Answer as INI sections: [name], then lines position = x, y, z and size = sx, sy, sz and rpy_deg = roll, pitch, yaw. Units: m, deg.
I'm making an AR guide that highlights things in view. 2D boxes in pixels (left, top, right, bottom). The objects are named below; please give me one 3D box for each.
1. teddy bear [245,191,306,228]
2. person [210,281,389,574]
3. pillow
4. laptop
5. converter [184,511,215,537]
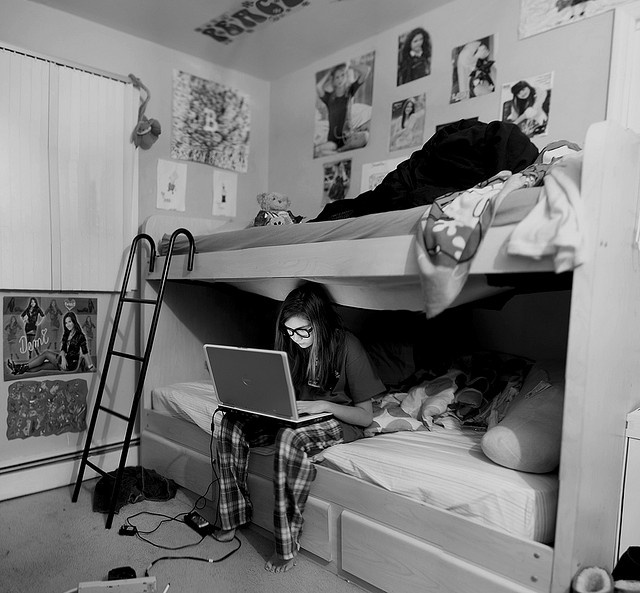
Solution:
[teddy bear]
position = -0.284, -0.472, 3.028
size = 0.230, 0.153, 0.314
rpy_deg = -1, 2, -21
[person]
position = -0.112, 0.520, 2.232
size = 0.606, 1.132, 0.604
rpy_deg = 6, -5, -42
[pillow]
position = 0.723, 0.425, 1.802
size = 0.246, 0.303, 0.429
rpy_deg = 0, 1, 27
[laptop]
position = -0.200, 0.346, 2.043
size = 0.435, 0.291, 0.398
rpy_deg = 1, -1, 24
[converter]
position = -0.546, 1.027, 2.284
size = 0.107, 0.031, 0.065
rpy_deg = 17, 4, 42
